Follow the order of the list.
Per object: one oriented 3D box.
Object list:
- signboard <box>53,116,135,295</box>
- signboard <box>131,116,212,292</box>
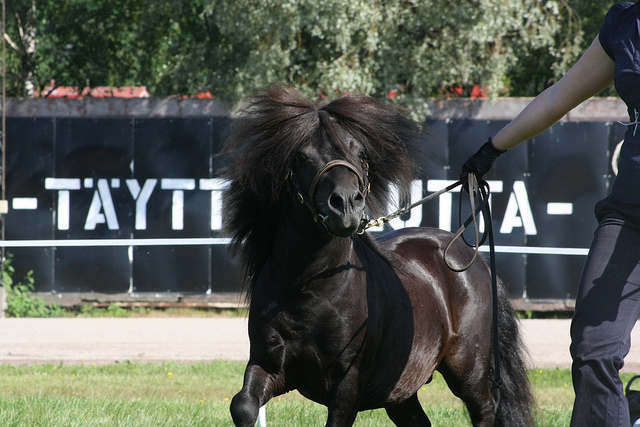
[{"bbox_3d":[-4.086,-0.003,26.480,2.079,0.048,4.512,-2,-46,-13],"label":"signboard"},{"bbox_3d":[-2.680,-0.145,26.500,1.433,3.343,0.220,-1,-17,-2],"label":"signboard"}]
